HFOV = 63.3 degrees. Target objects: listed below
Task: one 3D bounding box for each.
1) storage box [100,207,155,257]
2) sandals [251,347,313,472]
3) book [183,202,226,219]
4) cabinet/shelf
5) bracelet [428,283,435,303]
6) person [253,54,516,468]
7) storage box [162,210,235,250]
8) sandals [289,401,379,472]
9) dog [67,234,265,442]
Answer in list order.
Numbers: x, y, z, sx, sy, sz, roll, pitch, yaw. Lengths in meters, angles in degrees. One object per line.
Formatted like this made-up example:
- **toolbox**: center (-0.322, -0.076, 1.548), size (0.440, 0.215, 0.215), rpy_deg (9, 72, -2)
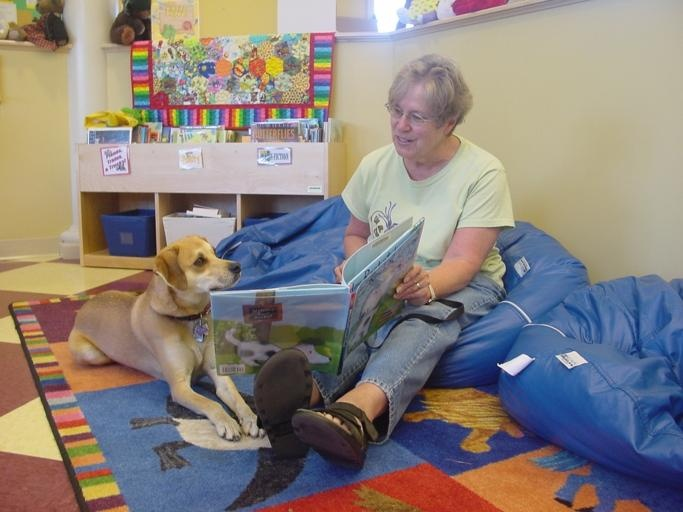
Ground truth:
- **storage box**: center (-1.500, -0.124, 4.113), size (0.398, 0.305, 0.472), rpy_deg (1, 0, 16)
- **sandals**: center (-0.182, 0.437, 1.699), size (0.151, 0.381, 0.169), rpy_deg (-9, 14, -18)
- **book**: center (-0.947, -0.299, 3.883), size (0.185, 0.066, 0.179), rpy_deg (2, 6, -20)
- **cabinet/shelf**: center (-0.993, -0.371, 4.011), size (1.777, 0.866, 0.529), rpy_deg (-2, 8, -21)
- **bracelet**: center (0.323, 0.137, 1.970), size (0.021, 0.057, 0.043), rpy_deg (1, -13, 12)
- **person**: center (0.156, -0.085, 1.960), size (0.694, 1.115, 1.465), rpy_deg (8, 23, 23)
- **storage box**: center (-0.984, -0.161, 3.806), size (0.454, 0.212, 0.290), rpy_deg (0, 2, 1)
- **sandals**: center (-0.008, 0.526, 1.700), size (0.210, 0.157, 0.348), rpy_deg (6, -29, 28)
- **dog**: center (-0.676, 0.251, 2.214), size (1.098, 0.624, 0.483), rpy_deg (16, 12, 36)
